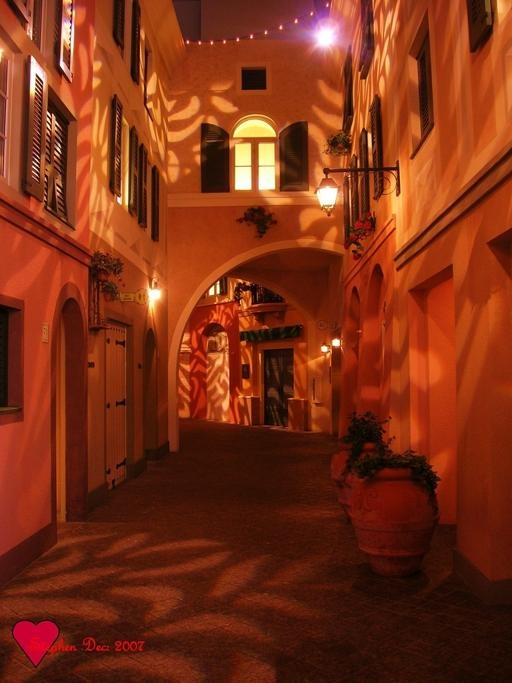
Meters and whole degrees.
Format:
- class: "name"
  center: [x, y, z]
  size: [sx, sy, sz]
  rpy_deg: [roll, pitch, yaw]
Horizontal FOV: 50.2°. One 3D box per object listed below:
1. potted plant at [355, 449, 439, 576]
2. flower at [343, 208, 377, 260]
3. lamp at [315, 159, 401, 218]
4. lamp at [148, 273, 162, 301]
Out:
- class: "potted plant"
  center: [0.994, 1.312, 4.371]
  size: [0.601, 1.104, 0.770]
  rpy_deg: [1, -8, 1]
- class: "flower"
  center: [1.879, -1.953, 9.625]
  size: [0.292, 0.472, 0.968]
  rpy_deg: [-8, 2, 6]
- class: "lamp"
  center: [1.410, -2.149, 7.467]
  size: [1.056, 0.375, 0.860]
  rpy_deg: [5, -42, 14]
- class: "lamp"
  center: [-2.206, -1.215, 11.779]
  size: [0.278, 0.824, 0.317]
  rpy_deg: [9, -27, -25]
